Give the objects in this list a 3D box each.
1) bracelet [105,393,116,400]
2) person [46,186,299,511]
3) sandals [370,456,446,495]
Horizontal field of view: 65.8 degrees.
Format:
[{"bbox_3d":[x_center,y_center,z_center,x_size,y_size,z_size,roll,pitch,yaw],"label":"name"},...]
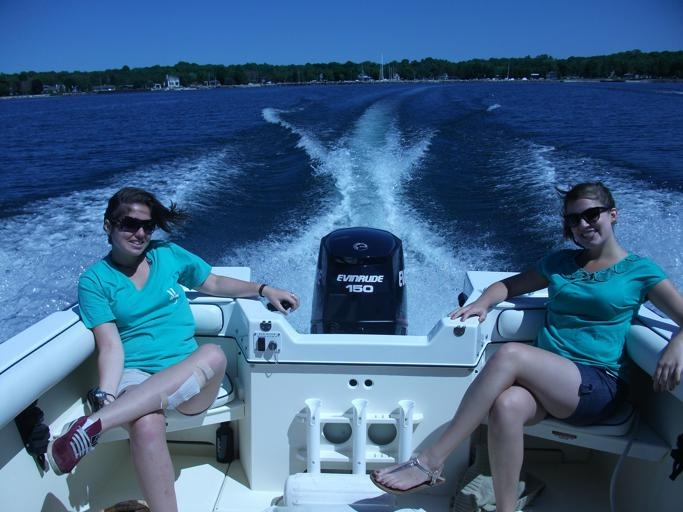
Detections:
[{"bbox_3d":[-0.942,0.575,2.158,0.024,0.011,0.033,23,-12,-39],"label":"bracelet"},{"bbox_3d":[-0.854,0.345,2.295,0.719,1.188,1.017,3,20,12],"label":"person"},{"bbox_3d":[0.276,0.904,2.193,0.331,0.106,0.126,-2,12,-6],"label":"sandals"}]
